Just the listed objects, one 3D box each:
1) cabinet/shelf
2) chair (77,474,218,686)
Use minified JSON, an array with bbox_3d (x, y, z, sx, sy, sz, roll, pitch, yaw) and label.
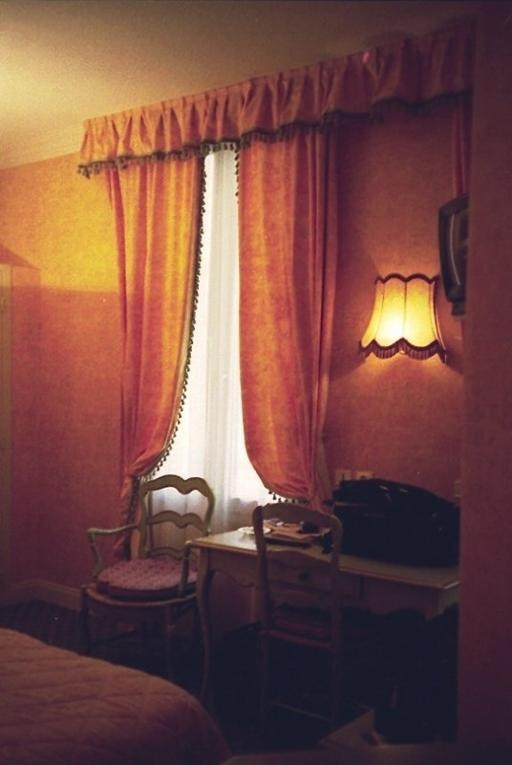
[{"bbox_3d":[0.096,0.470,1.410,0.200,0.338,0.775,-1,-2,-34],"label":"cabinet/shelf"},{"bbox_3d":[-0.313,0.562,1.983,0.341,0.610,0.387,4,-6,-8],"label":"chair"}]
